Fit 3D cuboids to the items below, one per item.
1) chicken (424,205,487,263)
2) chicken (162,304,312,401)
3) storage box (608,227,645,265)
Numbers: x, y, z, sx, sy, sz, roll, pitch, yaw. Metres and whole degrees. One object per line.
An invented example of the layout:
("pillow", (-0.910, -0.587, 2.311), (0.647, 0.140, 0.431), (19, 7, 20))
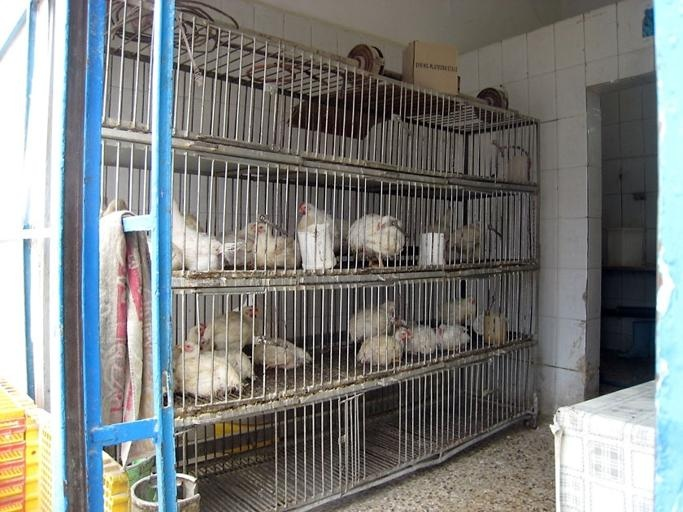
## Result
("chicken", (0.899, -0.168, 4.309), (0.518, 0.606, 0.316), (-1, 6, -38))
("chicken", (-0.608, 0.521, 3.261), (0.468, 0.331, 0.843), (-1, 3, 34))
("storage box", (3.148, -0.105, 6.458), (0.332, 0.597, 0.380), (-1, 2, -27))
